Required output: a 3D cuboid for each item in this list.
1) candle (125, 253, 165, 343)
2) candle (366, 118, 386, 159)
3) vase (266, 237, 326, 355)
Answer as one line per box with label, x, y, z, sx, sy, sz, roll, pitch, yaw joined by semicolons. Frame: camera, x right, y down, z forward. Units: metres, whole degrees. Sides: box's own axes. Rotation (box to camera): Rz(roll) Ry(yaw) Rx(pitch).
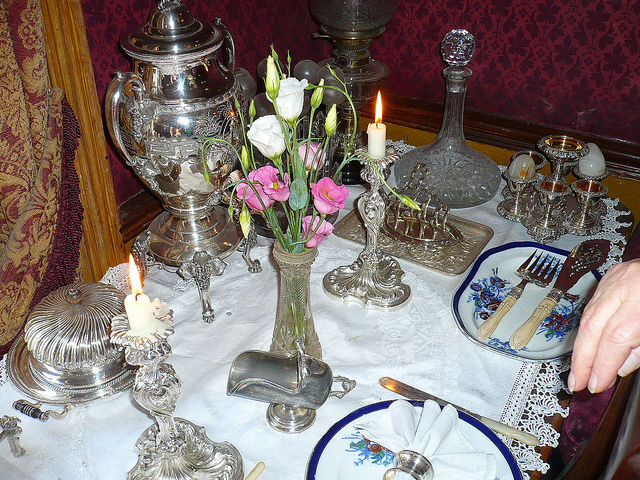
candle;-0.320;0.104;0.910;0.063;0.122;0.077;13;43;8
candle;0.120;-0.216;1.035;0.038;0.079;0.059;3;32;6
vase;-0.066;0.129;0.992;0.127;0.308;0.064;12;34;20
